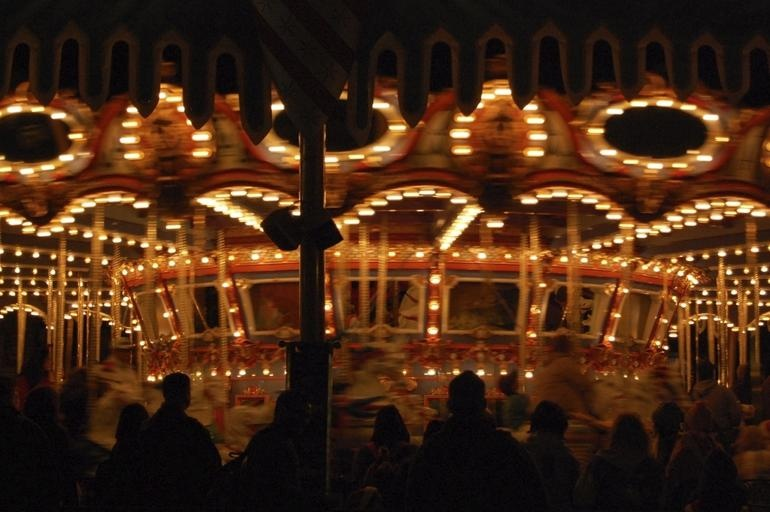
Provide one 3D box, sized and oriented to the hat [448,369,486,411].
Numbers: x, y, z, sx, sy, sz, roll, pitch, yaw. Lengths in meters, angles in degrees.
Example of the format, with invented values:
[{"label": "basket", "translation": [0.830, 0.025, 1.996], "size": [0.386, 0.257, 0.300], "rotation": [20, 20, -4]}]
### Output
[{"label": "hat", "translation": [0.559, 0.939, 9.637], "size": [0.244, 0.299, 0.201], "rotation": [2, -10, 1]}]
